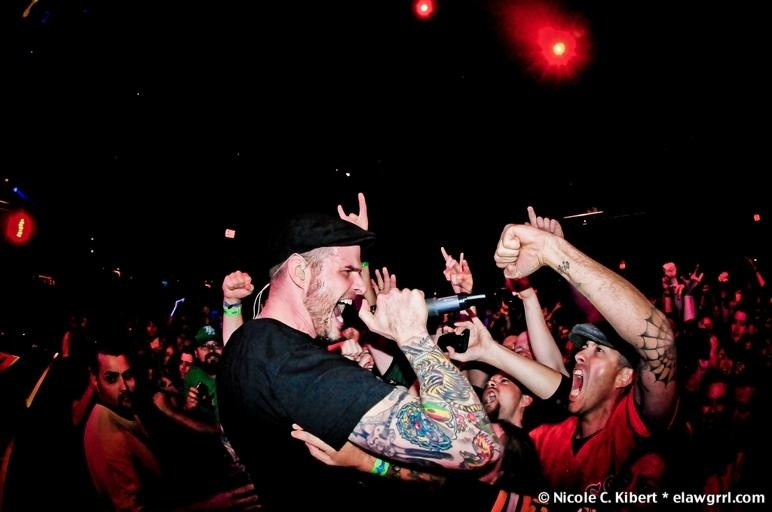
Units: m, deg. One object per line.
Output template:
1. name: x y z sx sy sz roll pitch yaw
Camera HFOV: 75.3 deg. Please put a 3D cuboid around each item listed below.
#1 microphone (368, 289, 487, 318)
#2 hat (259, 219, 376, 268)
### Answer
1. microphone: 0.414 0.409 4.304 0.965 0.191 0.189 -5 -2 -28
2. hat: -0.652 -0.164 4.246 0.664 0.243 0.470 -17 5 -5
